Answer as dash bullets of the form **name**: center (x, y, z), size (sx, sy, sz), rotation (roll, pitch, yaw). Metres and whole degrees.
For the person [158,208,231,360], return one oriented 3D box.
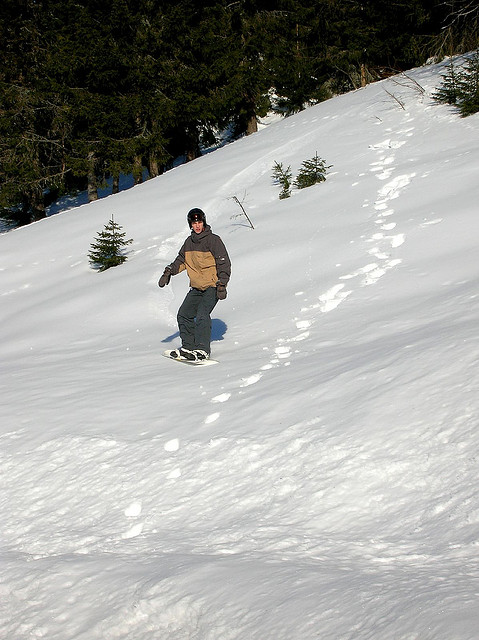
- **person**: center (-0.424, -0.340, 7.806), size (0.637, 1.385, 0.649), rotation (-11, 15, -29)

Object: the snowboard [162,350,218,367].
- **snowboard**: center (-0.498, 0.379, 7.760), size (0.178, 0.071, 0.565), rotation (-17, 20, -32)
